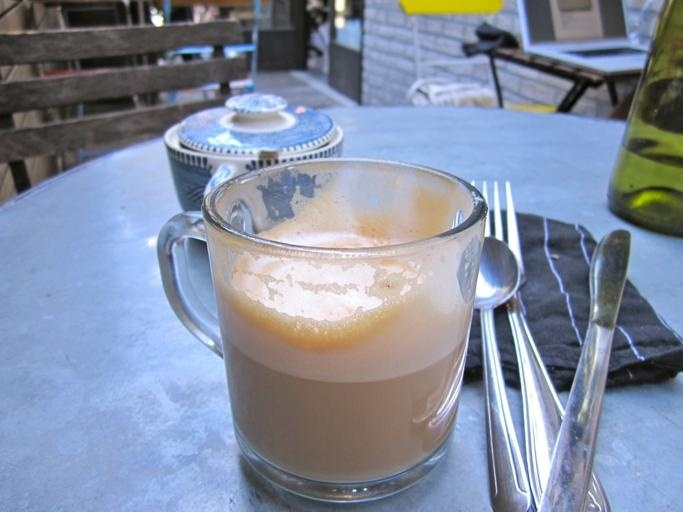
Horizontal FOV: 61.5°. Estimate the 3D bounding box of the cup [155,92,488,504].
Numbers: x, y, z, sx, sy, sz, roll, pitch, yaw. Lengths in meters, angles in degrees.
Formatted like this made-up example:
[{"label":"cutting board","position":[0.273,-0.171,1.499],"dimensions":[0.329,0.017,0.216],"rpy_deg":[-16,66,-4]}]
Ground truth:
[{"label":"cup","position":[0.006,0.044,0.408],"dimensions":[0.179,0.186,0.163],"rpy_deg":[1,29,0]}]
